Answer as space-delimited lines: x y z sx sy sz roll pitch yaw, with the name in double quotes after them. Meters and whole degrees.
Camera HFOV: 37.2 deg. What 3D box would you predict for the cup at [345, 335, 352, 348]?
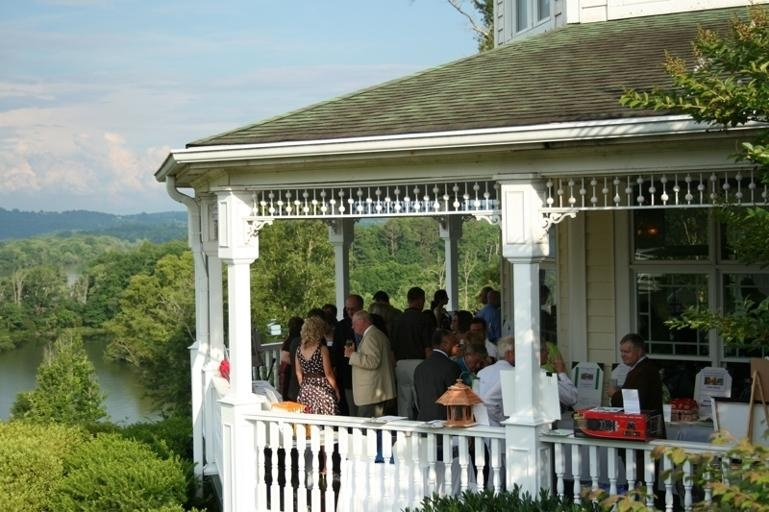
-0.691 1.627 21.394 0.105 0.179 0.108 1 -6 0 "cup"
